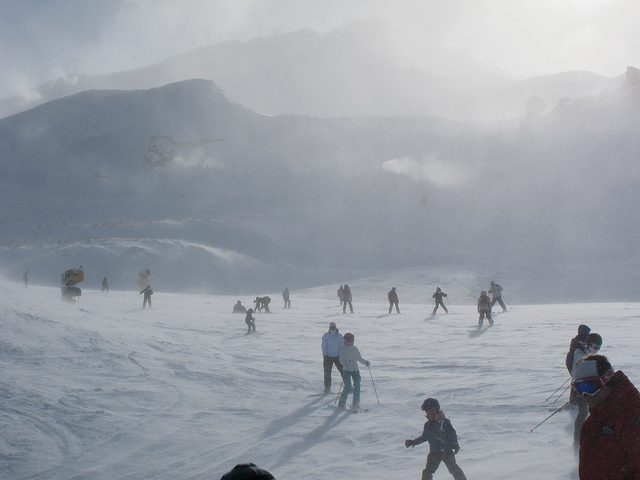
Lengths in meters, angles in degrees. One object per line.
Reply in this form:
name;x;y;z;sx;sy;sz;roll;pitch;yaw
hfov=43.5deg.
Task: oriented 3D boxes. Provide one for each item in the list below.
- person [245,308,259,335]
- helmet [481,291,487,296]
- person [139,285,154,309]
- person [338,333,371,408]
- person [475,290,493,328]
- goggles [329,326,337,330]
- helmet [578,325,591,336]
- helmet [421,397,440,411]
person;-3.523;4.159;41.112;0.575;1.221;1.268;0;8;-5
helmet;8.316;2.699;40.695;0.238;0.286;0.300;1;-10;-12
person;-10.983;3.603;50.340;1.296;1.861;0.645;1;-8;-6
person;1.161;5.041;30.842;0.927;2.861;0.830;1;8;3
person;8.330;3.508;40.646;0.907;1.677;0.533;-7;11;-44
goggles;0.500;3.479;31.710;0.172;0.117;0.271;3;-5;-1
helmet;9.394;3.194;28.516;0.358;0.389;0.543;2;8;15
helmet;3.625;5.381;26.383;0.500;0.440;0.384;-5;3;-3
